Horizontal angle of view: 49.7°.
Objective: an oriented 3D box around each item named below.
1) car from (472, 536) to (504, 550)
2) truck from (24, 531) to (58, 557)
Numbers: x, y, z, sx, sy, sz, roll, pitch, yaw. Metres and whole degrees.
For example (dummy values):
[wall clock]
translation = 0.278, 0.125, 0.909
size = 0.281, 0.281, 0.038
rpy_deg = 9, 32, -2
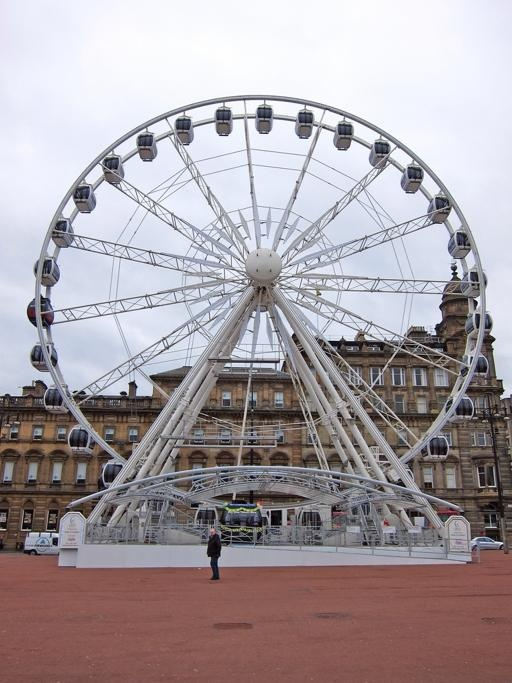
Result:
[car]
translation = 18.453, 16.229, 44.412
size = 1.696, 0.939, 4.726
rpy_deg = -9, -19, 31
[truck]
translation = -16.163, 15.166, 41.656
size = 2.485, 1.312, 1.437
rpy_deg = 0, -13, -5
